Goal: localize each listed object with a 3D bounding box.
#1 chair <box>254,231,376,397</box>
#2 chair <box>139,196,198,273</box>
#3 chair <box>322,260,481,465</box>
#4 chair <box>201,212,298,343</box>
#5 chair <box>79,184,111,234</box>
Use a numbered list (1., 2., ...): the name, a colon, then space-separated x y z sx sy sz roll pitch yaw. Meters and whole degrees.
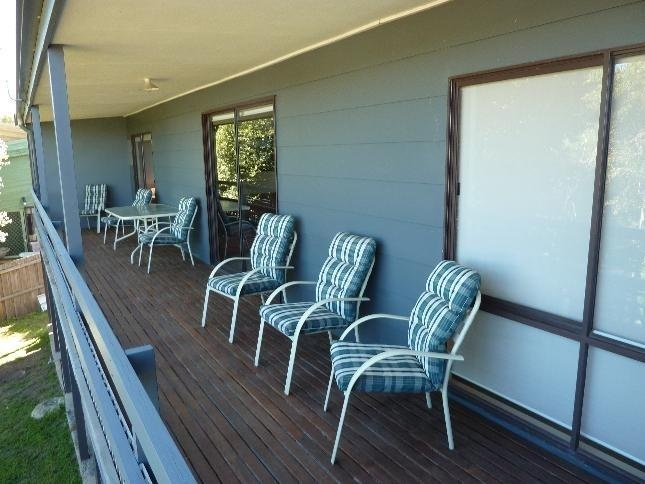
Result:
1. chair: -0.045 0.595 3.773 0.961 1.250 0.756 -5 12 -27
2. chair: -2.721 -0.242 7.201 0.977 1.110 1.792 -7 15 -25
3. chair: 0.548 0.807 2.981 1.094 1.234 0.846 -5 8 -3
4. chair: -0.820 0.339 4.677 0.844 1.315 0.950 9 12 37
5. chair: -5.603 -0.848 9.994 0.624 1.041 0.663 4 9 3
